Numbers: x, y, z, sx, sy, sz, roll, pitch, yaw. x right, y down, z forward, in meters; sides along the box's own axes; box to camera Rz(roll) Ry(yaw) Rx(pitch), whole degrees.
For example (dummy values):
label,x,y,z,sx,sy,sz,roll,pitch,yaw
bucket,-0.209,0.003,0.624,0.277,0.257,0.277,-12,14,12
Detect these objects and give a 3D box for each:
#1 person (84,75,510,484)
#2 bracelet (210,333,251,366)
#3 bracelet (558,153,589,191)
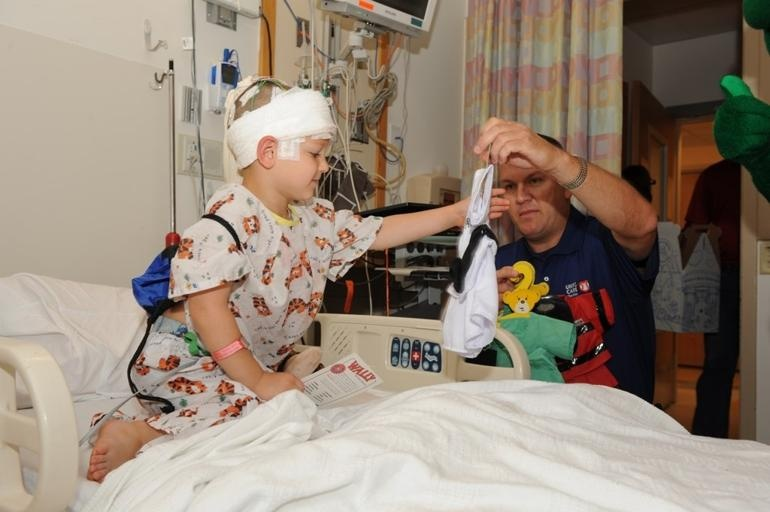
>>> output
label,x,y,z,sx,sy,sz,roll,pitch,yaw
person,-0.079,-0.041,2.240,1.448,1.435,0.987,6,11,7
bracelet,-0.485,0.296,1.855,0.080,0.033,0.083,-32,-8,3
bracelet,0.663,-0.294,2.083,0.034,0.104,0.087,9,-14,-29
